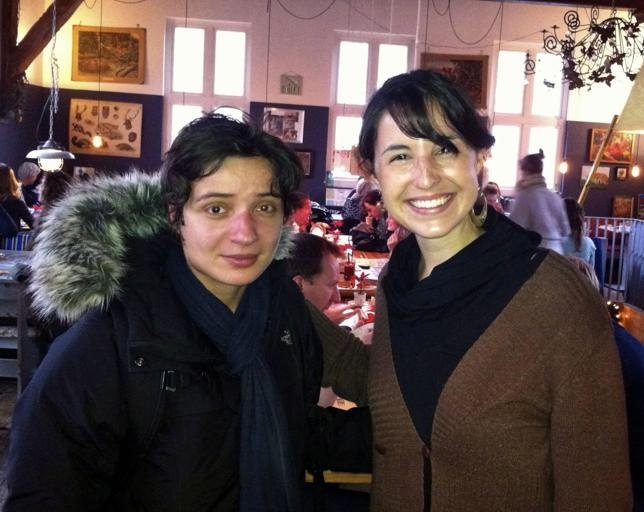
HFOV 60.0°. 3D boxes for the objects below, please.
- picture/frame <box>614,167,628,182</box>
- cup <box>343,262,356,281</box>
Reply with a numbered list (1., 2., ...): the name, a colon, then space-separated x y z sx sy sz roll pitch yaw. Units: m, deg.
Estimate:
1. picture/frame: 5.616 -1.544 10.544 0.263 0.281 0.041 0 4 1
2. cup: 0.231 0.135 4.608 0.129 0.201 0.125 0 15 0
